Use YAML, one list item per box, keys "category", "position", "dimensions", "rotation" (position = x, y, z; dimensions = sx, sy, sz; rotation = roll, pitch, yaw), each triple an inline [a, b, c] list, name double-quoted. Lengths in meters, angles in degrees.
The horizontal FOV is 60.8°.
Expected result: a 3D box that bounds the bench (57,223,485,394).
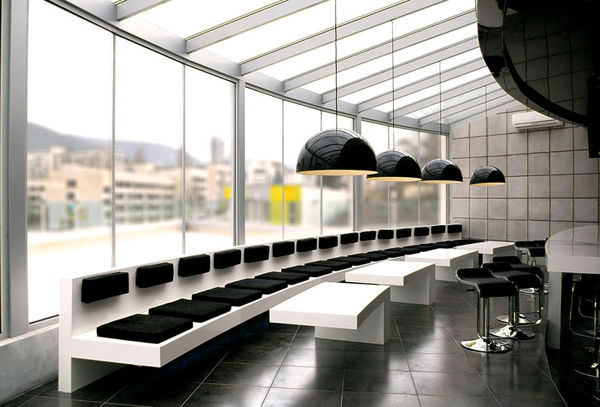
- category: "bench"
  position: [0.730, 0.963, 9.519]
  dimensions: [1.460, 1.633, 10.090]
  rotation: [11, 17, 40]
